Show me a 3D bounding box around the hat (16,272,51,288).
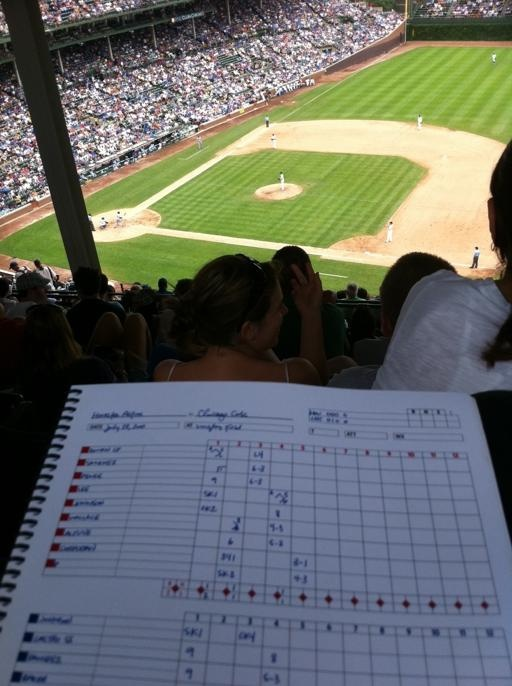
[{"bbox_3d":[-2.121,-0.582,5.354,0.244,0.134,0.177,-12,25,-24],"label":"hat"}]
